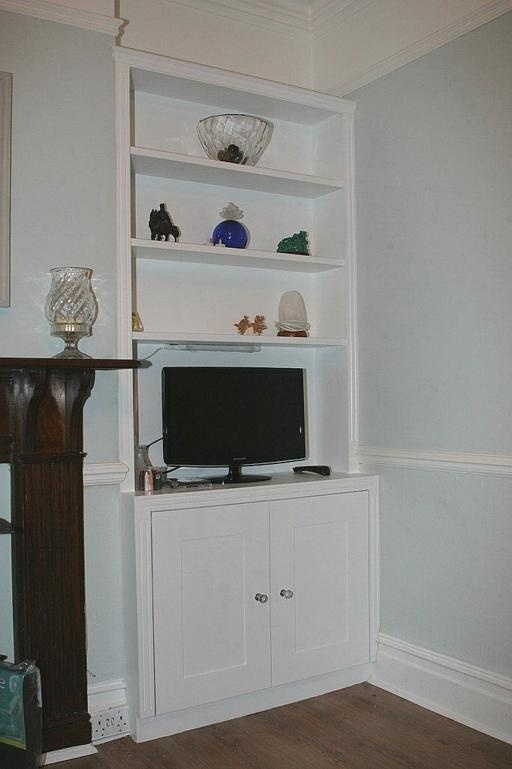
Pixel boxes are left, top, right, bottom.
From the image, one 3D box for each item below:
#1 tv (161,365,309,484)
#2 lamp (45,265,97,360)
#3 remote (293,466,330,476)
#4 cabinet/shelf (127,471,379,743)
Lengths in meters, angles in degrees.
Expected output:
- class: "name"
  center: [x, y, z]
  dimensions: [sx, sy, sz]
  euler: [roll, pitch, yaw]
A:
- class: "tv"
  center: [-0.078, 0.181, 2.737]
  dimensions: [0.608, 0.437, 0.146]
  euler: [3, -13, -22]
- class: "lamp"
  center: [-0.582, -0.224, 2.151]
  dimensions: [0.162, 0.282, 0.148]
  euler: [-2, 3, -27]
- class: "remote"
  center: [0.239, 0.362, 2.904]
  dimensions: [0.050, 0.051, 0.216]
  euler: [1, -3, -36]
- class: "cabinet/shelf"
  center: [-0.012, 0.805, 2.591]
  dimensions: [0.985, 0.830, 0.350]
  euler: [0, -1, -29]
